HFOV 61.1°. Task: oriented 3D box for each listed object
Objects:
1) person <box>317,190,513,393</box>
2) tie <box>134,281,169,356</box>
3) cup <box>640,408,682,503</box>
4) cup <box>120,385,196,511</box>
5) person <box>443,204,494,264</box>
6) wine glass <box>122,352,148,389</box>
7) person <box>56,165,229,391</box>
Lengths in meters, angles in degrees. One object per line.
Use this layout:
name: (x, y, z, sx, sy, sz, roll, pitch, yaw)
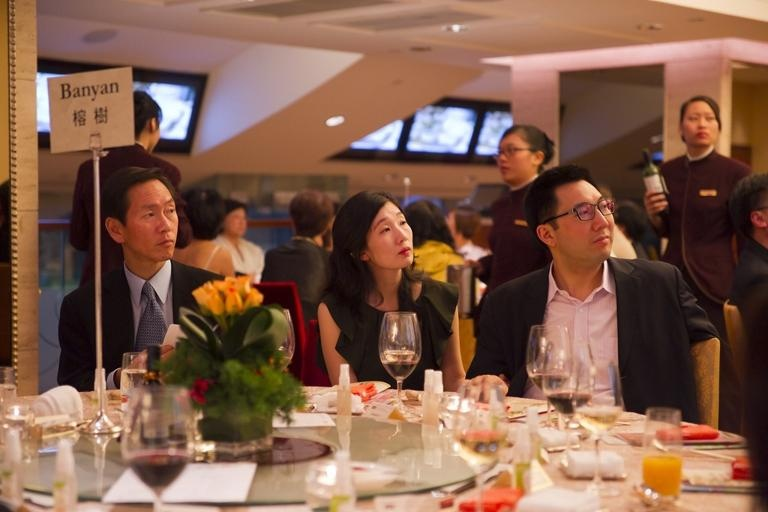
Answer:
person: (0.024, 0.217, 3.505, 0.829, 1.077, 0.994, -5, -5, -35)
tie: (-1.056, 0.272, 2.975, 0.134, 0.316, 0.115, 3, -6, -19)
cup: (0.686, 0.485, 1.614, 0.097, 0.213, 0.191, -1, -6, 23)
cup: (-0.509, 0.411, 1.471, 0.137, 0.234, 0.098, 3, -6, -21)
person: (0.935, -0.227, 7.067, 0.369, 0.588, 0.754, 7, 27, 38)
wine glass: (-0.793, 0.368, 2.076, 0.048, 0.128, 0.198, 5, -7, -31)
person: (-1.154, 0.091, 3.062, 0.715, 1.027, 0.317, 2, -5, -6)
